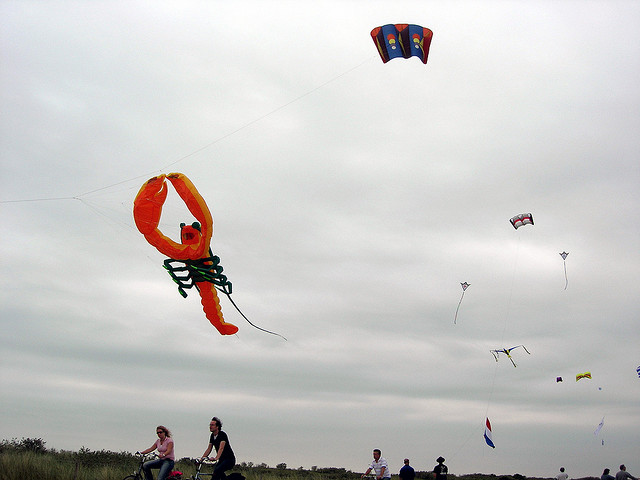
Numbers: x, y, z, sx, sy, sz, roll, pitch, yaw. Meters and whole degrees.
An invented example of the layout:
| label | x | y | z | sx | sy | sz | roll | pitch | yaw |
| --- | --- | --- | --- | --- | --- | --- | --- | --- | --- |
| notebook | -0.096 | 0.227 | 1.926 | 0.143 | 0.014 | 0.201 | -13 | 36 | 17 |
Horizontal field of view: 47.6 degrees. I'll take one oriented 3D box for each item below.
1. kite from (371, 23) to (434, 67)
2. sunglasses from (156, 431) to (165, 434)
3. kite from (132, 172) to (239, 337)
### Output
| label | x | y | z | sx | sy | sz | roll | pitch | yaw |
| --- | --- | --- | --- | --- | --- | --- | --- | --- | --- |
| kite | 3.155 | -7.500 | 27.821 | 2.222 | 1.297 | 1.234 | -8 | -29 | 27 |
| sunglasses | -4.794 | 5.801 | 21.890 | 0.195 | 0.082 | 0.076 | -9 | -30 | 29 |
| kite | -4.518 | -0.174 | 23.702 | 2.077 | 1.691 | 5.197 | -9 | -67 | 16 |
